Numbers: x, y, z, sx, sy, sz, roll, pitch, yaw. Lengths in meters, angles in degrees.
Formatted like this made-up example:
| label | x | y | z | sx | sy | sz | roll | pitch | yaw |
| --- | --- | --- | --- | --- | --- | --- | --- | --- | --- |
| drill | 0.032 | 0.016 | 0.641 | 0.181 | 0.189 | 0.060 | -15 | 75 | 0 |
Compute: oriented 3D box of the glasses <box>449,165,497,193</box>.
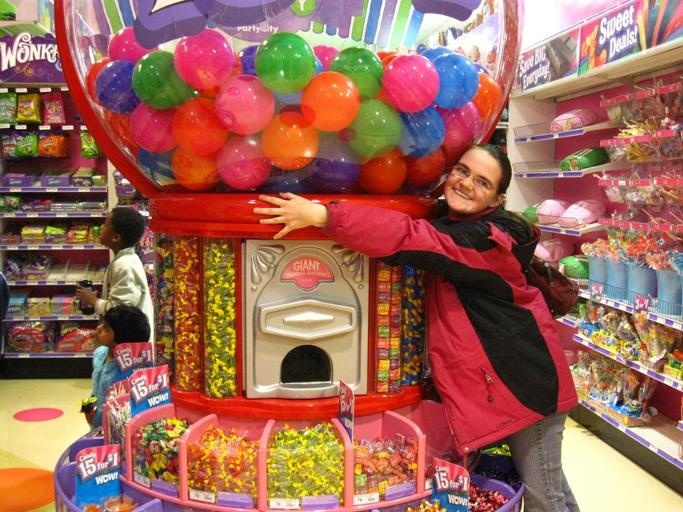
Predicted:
| label | x | y | z | sx | sy | sz | roll | pitch | yaw |
| --- | --- | --- | --- | --- | --- | --- | --- | --- | --- |
| glasses | 0.522 | -0.315 | 1.905 | 0.126 | 0.041 | 0.132 | 22 | -20 | 14 |
